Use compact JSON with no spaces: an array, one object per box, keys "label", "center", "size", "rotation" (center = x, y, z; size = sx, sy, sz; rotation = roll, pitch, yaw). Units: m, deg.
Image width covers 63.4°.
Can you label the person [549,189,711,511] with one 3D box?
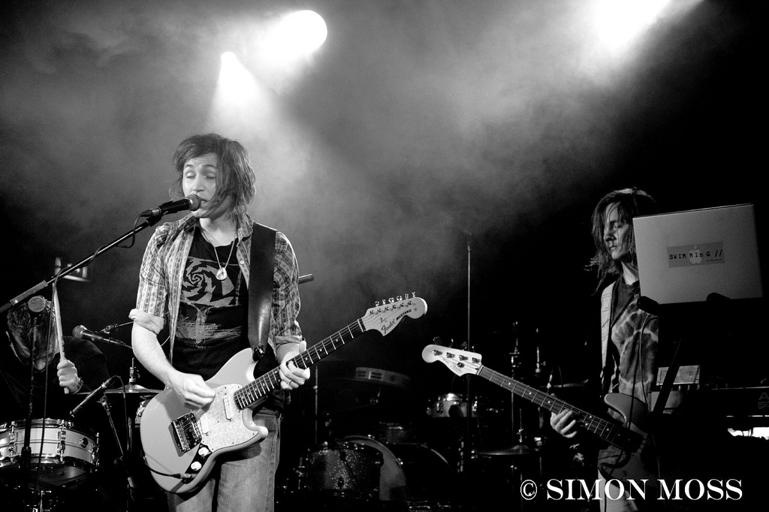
[{"label":"person","center":[2.035,0.615,5.175],"size":[0.306,2.678,1.001],"rotation":[24,-36,-29]}]

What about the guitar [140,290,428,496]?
[{"label":"guitar","center":[-0.786,1.198,5.116],"size":[2.189,0.774,0.316],"rotation":[-32,-17,-6]}]
